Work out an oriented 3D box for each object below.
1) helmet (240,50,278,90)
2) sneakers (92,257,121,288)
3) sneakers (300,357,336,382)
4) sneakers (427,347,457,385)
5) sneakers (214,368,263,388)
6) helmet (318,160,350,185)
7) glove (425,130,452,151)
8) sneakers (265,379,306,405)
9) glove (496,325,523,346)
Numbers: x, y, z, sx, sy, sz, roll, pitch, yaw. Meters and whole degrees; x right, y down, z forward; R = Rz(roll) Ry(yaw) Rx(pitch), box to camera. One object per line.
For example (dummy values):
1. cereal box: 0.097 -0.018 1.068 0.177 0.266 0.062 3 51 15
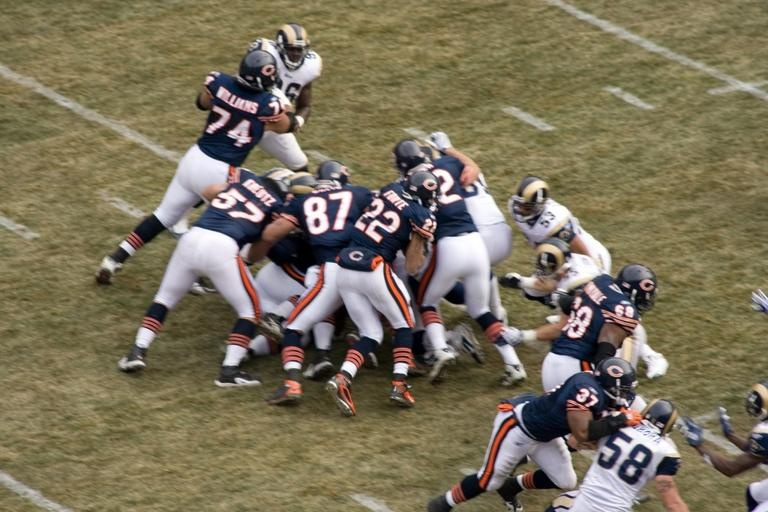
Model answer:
1. helmet: -1.406 -2.084 13.089 0.427 0.428 0.371 1 47 1
2. sneakers: -3.163 0.203 13.376 0.295 0.369 0.240 26 36 -45
3. sneakers: -0.707 1.231 12.659 0.480 0.166 0.180 -20 30 25
4. sneakers: 0.536 1.194 12.700 0.239 0.506 0.237 35 56 4
5. sneakers: -1.575 1.316 12.462 0.666 0.162 0.175 -1 13 -6
6. helmet: -0.568 -0.939 13.040 0.357 0.257 0.372 6 0 34
7. glove: 0.663 -1.313 13.492 0.391 0.088 0.309 -8 44 0
8. sneakers: -1.032 1.429 12.325 0.332 0.331 0.254 5 48 3
9. glove: 1.391 0.872 12.644 0.238 0.231 0.208 0 46 -1
